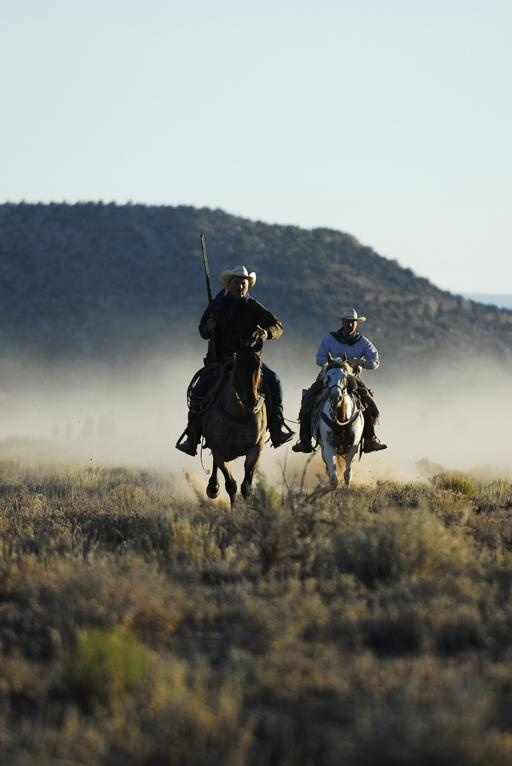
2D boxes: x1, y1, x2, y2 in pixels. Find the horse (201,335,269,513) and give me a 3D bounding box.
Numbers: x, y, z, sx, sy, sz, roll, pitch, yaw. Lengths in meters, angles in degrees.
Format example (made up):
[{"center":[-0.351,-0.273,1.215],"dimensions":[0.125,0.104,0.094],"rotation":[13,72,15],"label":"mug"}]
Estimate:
[{"center":[-0.223,0.555,16.615],"dimensions":[0.717,2.294,1.906],"rotation":[-3,11,-9],"label":"horse"}]
